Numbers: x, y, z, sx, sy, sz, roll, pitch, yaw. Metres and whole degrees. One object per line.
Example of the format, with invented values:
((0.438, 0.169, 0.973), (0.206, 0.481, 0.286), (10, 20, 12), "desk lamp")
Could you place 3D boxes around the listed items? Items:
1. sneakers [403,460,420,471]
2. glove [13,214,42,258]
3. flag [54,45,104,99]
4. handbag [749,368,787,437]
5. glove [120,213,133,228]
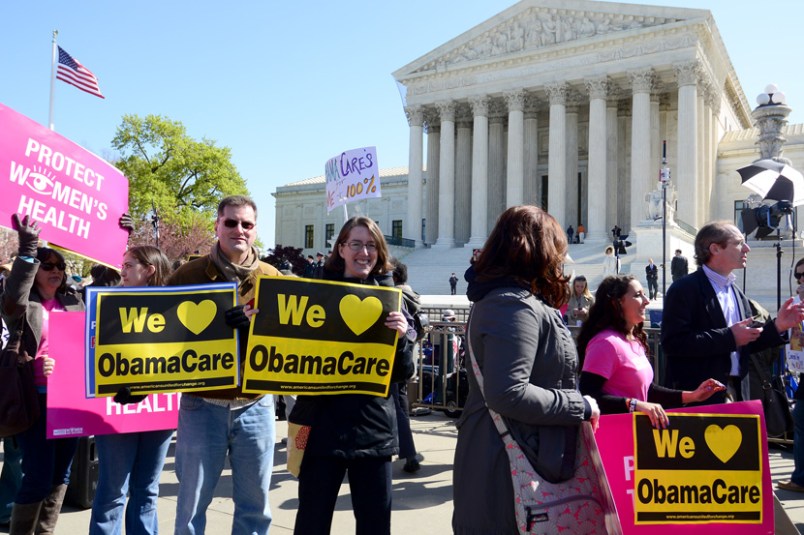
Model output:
((0.106, 2.244, 8.466), (0.106, 0.122, 0.176), (-4, -20, 7), "sneakers")
((-3.221, -0.273, 6.418), (0.211, 0.402, 0.408), (-2, -3, -27), "glove")
((-8.903, -5.288, 20.644), (0.828, 1.374, 1.272), (-1, -4, -42), "flag")
((3.478, 1.305, 7.070), (0.308, 0.705, 0.822), (-5, -3, 27), "handbag")
((-2.729, -0.460, 7.437), (0.107, 0.155, 0.096), (-4, -3, 16), "glove")
